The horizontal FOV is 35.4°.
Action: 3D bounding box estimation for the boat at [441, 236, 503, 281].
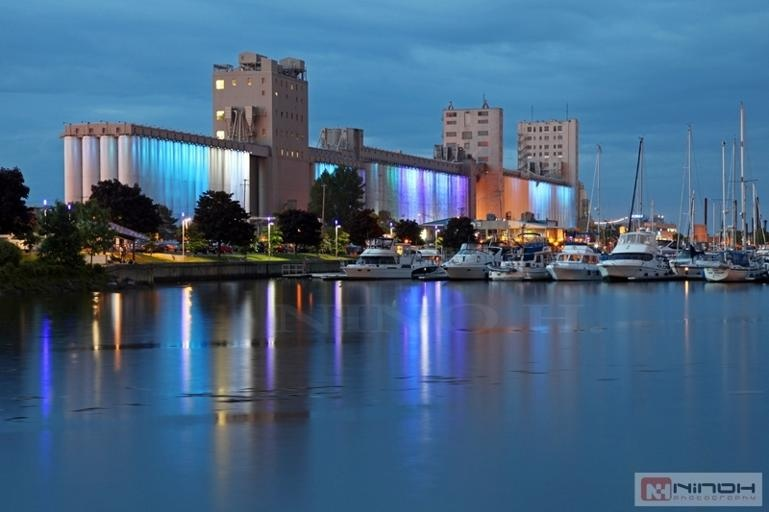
[{"bbox_3d":[7.379,-0.004,103.204,7.175,3.958,3.313,-1,-1,2],"label":"boat"}]
